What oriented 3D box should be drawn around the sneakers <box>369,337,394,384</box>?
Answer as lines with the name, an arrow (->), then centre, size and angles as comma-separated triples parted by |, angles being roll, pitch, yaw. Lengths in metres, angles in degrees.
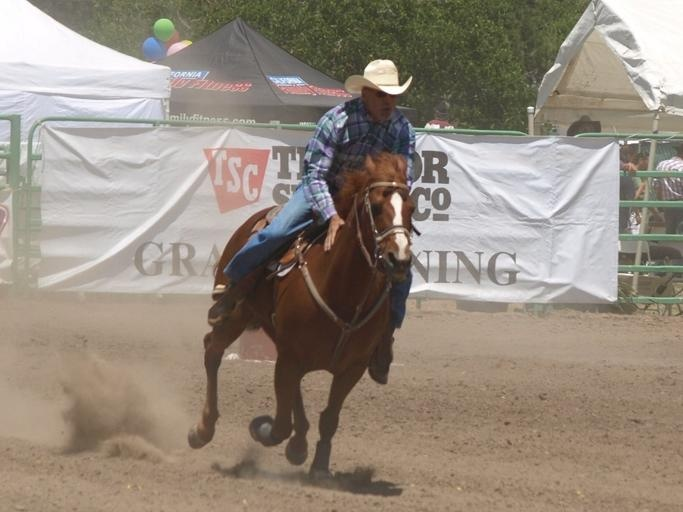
sneakers -> 0.367, 1.053, 8.749 | 0.177, 0.247, 0.556 | 15, -30, 4

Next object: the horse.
horse -> -0.287, 0.547, 8.195 | 2.174, 3.139, 0.729 | 12, 14, 32

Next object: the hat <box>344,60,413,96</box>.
hat -> 0.359, -1.689, 8.167 | 0.600, 0.296, 0.605 | 7, 17, 22

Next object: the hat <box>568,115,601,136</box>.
hat -> 4.613, -2.472, 16.504 | 0.773, 0.369, 0.455 | -3, 14, -34
